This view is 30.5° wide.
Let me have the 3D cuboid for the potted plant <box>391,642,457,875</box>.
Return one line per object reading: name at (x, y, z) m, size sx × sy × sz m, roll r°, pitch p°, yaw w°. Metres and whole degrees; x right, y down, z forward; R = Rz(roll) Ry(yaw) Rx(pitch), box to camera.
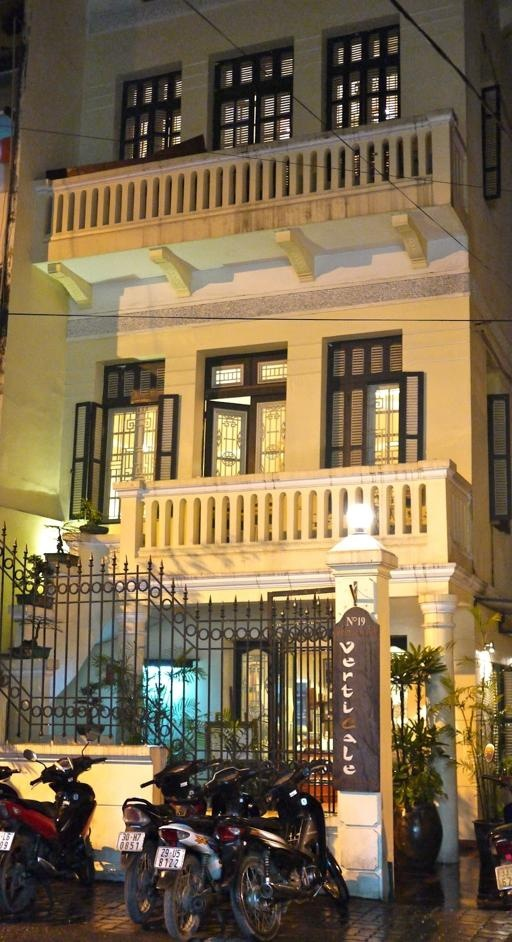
potted plant at (1.611, 2.823, 9.373) m, size 0.555 × 2.100 × 0.927 m, roll -5°, pitch -13°, yaw 27°
